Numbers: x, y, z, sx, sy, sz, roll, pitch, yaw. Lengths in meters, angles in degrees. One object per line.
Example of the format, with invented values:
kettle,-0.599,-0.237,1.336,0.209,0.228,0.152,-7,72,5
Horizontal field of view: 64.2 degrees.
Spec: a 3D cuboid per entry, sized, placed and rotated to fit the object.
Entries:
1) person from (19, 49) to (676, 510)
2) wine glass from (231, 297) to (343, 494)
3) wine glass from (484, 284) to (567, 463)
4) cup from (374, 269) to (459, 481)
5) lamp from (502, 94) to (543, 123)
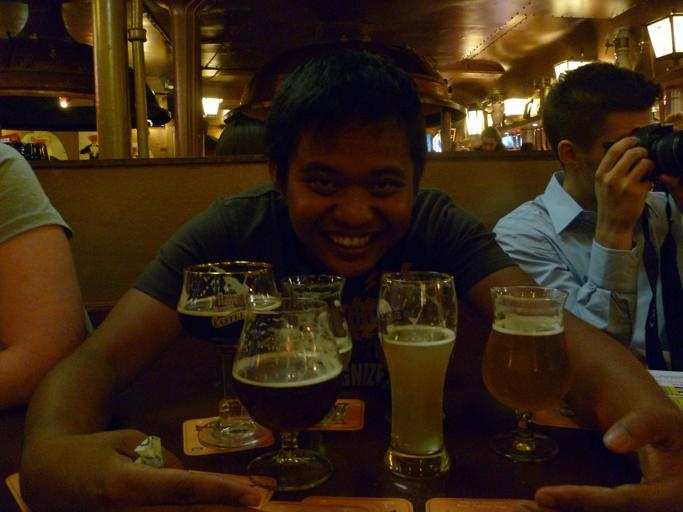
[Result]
person,-0.176,0.103,1.594,1.139,0.774,1.346,-1,7,-9
wine glass,-0.118,0.270,1.120,0.193,0.346,0.210,-10,10,-32
wine glass,0.413,0.242,1.222,0.181,0.327,0.291,-1,9,21
cup,0.164,0.242,1.142,0.167,0.377,0.198,-3,9,10
lamp,2.920,-2.388,8.791,0.605,0.373,0.609,1,11,11
